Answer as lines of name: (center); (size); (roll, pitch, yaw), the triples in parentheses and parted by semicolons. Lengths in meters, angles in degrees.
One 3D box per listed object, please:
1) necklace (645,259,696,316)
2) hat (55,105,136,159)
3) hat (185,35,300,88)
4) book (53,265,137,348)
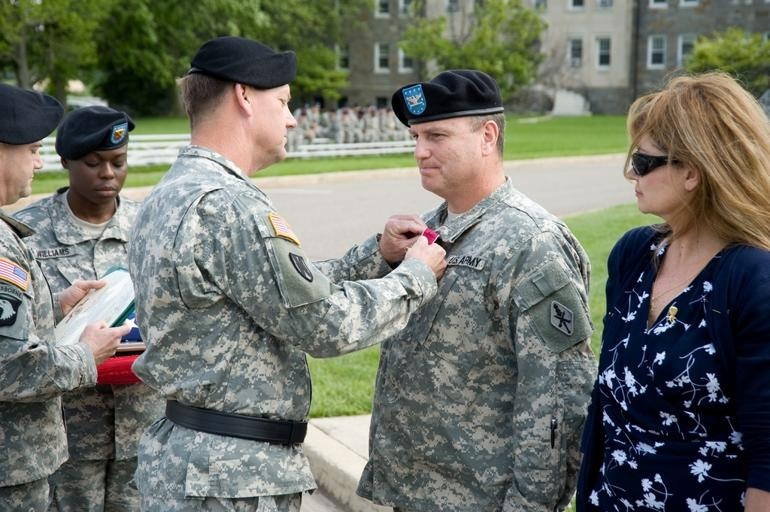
necklace: (1.337, 0.130, 4.838); (0.061, 0.293, 0.163); (33, -5, -42)
hat: (-1.789, -0.716, 6.317); (0.390, 0.137, 0.348); (-7, 18, 24)
hat: (-0.686, -0.902, 5.059); (0.395, 0.132, 0.300); (7, 2, -3)
book: (-1.561, 0.293, 5.736); (0.454, 0.106, 0.445); (-13, 27, 37)
